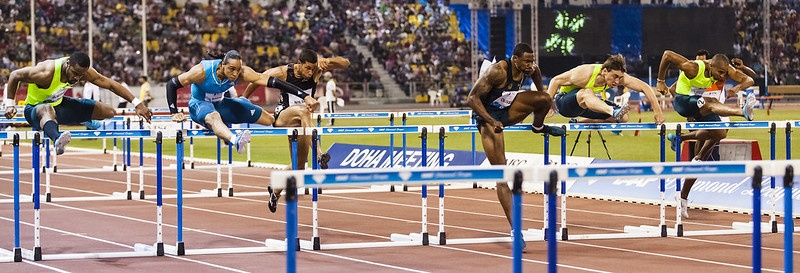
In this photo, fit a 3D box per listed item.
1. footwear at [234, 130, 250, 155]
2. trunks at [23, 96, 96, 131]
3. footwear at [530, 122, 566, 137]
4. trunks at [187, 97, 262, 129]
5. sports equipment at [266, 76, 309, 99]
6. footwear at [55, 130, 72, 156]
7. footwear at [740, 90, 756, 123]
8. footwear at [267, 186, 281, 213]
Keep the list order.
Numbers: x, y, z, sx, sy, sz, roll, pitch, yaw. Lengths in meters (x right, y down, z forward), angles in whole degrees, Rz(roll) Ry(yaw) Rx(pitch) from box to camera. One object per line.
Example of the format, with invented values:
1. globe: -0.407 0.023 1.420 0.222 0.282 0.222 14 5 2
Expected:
1. footwear: -6.993 0.218 39.378 0.525 1.070 0.610 12 12 -41
2. trunks: -15.469 -1.176 40.357 2.401 0.641 1.997 -12 3 29
3. footwear: 6.648 -0.263 39.404 1.848 0.520 0.515 -2 12 7
4. trunks: -8.034 -1.205 40.161 1.987 0.695 2.644 -4 -4 43
5. sports equipment: -5.261 -2.351 41.499 2.201 0.492 0.477 23 6 -21
6. footwear: -15.124 0.253 39.385 0.627 1.016 0.767 -1 6 -22
7. footwear: 16.292 -1.388 41.105 0.600 1.236 0.709 7 -12 -30
8. footwear: -5.721 2.877 40.292 0.726 1.166 0.525 3 7 34
